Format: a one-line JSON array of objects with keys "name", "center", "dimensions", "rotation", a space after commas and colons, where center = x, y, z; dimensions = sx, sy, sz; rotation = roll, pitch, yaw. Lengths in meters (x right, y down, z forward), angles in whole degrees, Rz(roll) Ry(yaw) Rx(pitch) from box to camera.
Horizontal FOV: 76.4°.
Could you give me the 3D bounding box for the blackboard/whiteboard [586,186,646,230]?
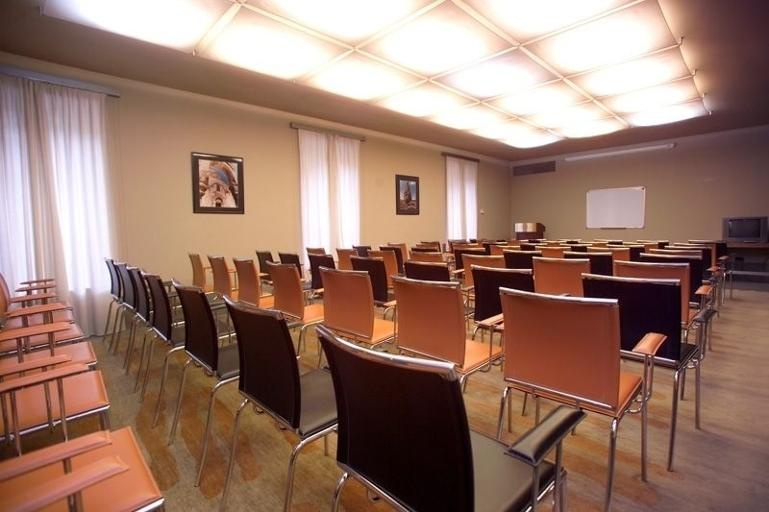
[{"name": "blackboard/whiteboard", "center": [6.340, -1.301, 13.418], "dimensions": [1.545, 1.148, 0.124], "rotation": [4, 14, 40]}]
